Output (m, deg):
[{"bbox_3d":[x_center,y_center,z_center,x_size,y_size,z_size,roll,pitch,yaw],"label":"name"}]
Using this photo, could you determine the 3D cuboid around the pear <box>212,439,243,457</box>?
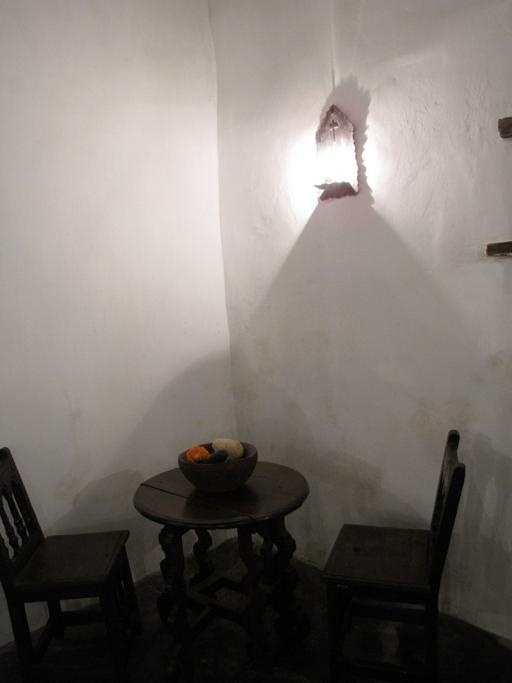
[{"bbox_3d":[-0.112,0.430,2.151,0.107,0.070,0.055,10,-7,2],"label":"pear"}]

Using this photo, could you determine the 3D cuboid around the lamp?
[{"bbox_3d":[0.352,-0.835,2.362,0.194,0.397,0.121,3,14,25],"label":"lamp"}]

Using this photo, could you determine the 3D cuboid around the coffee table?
[{"bbox_3d":[-0.142,0.880,2.200,0.576,0.659,0.673,-2,-5,-14],"label":"coffee table"}]

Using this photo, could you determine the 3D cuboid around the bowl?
[{"bbox_3d":[-0.143,0.509,2.195,0.288,0.145,0.316,-3,10,1],"label":"bowl"}]

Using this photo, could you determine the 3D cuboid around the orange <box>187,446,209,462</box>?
[{"bbox_3d":[-0.226,0.448,2.142,0.055,0.029,0.060,0,2,21],"label":"orange"}]
